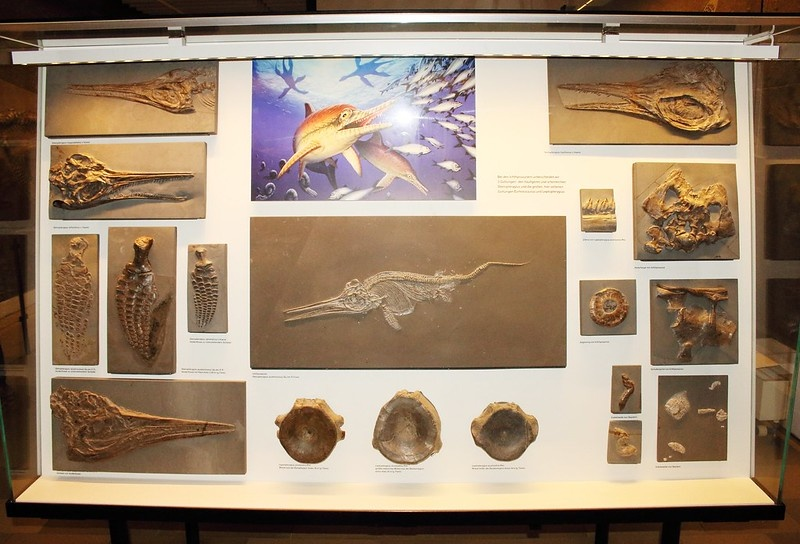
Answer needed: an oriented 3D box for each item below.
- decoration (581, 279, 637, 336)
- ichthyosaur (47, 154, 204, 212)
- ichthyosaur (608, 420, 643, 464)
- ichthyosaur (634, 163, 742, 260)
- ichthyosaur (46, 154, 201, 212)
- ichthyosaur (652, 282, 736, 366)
[{"bbox_3d":[1.533,0.265,5.701,0.428,0.399,0.102,0,-5,0],"label":"decoration"},{"bbox_3d":[-2.050,-0.630,5.906,1.089,0.321,0.433,-1,32,-10],"label":"ichthyosaur"},{"bbox_3d":[1.691,1.276,5.855,0.320,0.387,0.043,-1,1,1],"label":"ichthyosaur"},{"bbox_3d":[2.146,-0.441,5.830,0.781,0.741,0.086,2,-7,0],"label":"ichthyosaur"},{"bbox_3d":[-2.055,-0.663,5.888,1.089,0.328,0.433,-1,29,-10],"label":"ichthyosaur"},{"bbox_3d":[2.183,0.364,5.828,0.617,0.625,0.031,-1,2,1],"label":"ichthyosaur"}]
